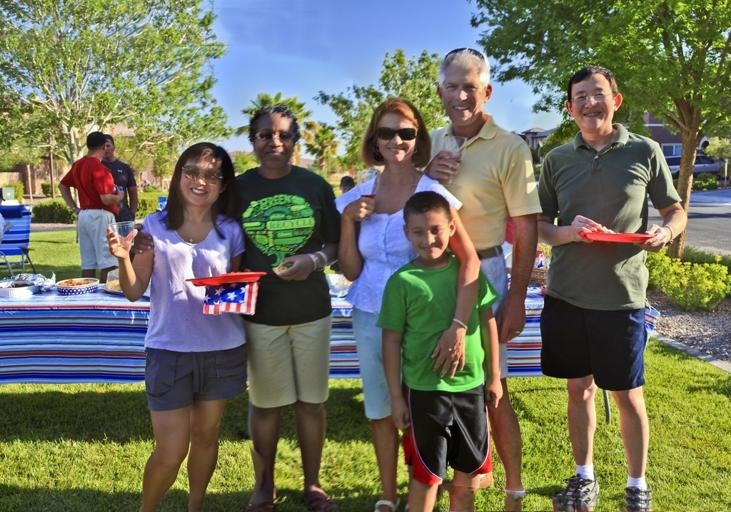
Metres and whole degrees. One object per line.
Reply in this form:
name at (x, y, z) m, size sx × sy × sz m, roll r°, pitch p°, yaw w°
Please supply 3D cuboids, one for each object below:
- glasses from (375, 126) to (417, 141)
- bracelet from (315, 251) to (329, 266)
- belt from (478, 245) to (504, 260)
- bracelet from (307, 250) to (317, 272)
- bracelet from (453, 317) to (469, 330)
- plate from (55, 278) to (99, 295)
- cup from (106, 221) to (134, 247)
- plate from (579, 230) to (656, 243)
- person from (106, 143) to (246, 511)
glasses at (0.188, -0.773, 3.762) m, size 0.236 × 0.088 × 0.054 m, roll 0°, pitch 4°, yaw 2°
bracelet at (-0.294, 0.018, 3.921) m, size 0.082 × 0.084 × 0.084 m, roll -1°, pitch -19°, yaw -3°
belt at (0.800, -0.021, 3.838) m, size 0.093 × 0.046 × 0.124 m, roll -15°, pitch -5°, yaw 5°
bracelet at (-0.345, 0.032, 3.874) m, size 0.063 × 0.085 × 0.084 m, roll 10°, pitch 32°, yaw 25°
bracelet at (0.568, 0.410, 3.584) m, size 0.068 × 0.038 × 0.059 m, roll 41°, pitch 9°, yaw 19°
plate at (-2.414, 0.263, 4.986) m, size 0.321 × 0.111 × 0.317 m, roll -1°, pitch 4°, yaw -28°
cup at (-1.505, -0.147, 3.670) m, size 0.127 × 0.104 × 0.135 m, roll 2°, pitch -1°, yaw 0°
plate at (1.545, -0.118, 3.652) m, size 0.381 × 0.062 × 0.223 m, roll 0°, pitch 3°, yaw -5°
person at (-1.160, 0.492, 3.749) m, size 0.762 × 2.406 × 0.315 m, roll -1°, pitch 4°, yaw -13°
